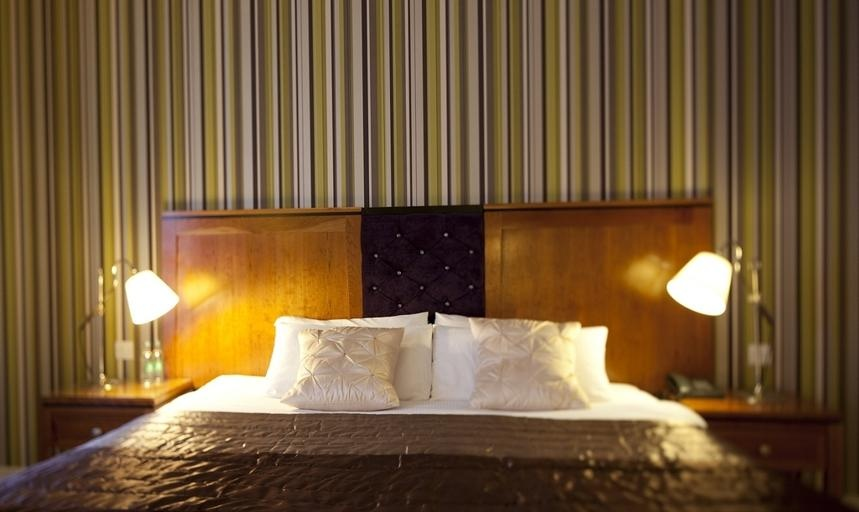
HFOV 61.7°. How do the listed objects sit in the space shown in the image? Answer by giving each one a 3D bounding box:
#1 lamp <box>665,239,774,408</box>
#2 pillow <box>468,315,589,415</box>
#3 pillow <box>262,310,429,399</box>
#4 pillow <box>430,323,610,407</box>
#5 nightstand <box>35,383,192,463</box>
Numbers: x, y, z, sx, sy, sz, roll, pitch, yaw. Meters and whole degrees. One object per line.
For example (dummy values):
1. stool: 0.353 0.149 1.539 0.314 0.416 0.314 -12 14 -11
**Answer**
1. lamp: 1.931 0.428 4.669 0.767 1.052 0.361 -1 0 2
2. pillow: 0.613 0.661 4.370 0.672 0.538 0.193 0 -19 3
3. pillow: -0.556 0.711 4.994 0.708 0.270 0.974 -2 13 -3
4. pillow: 0.366 0.740 4.832 0.894 0.511 0.253 1 -10 9
5. nightstand: -2.111 0.959 4.804 0.753 0.671 0.551 0 0 4
